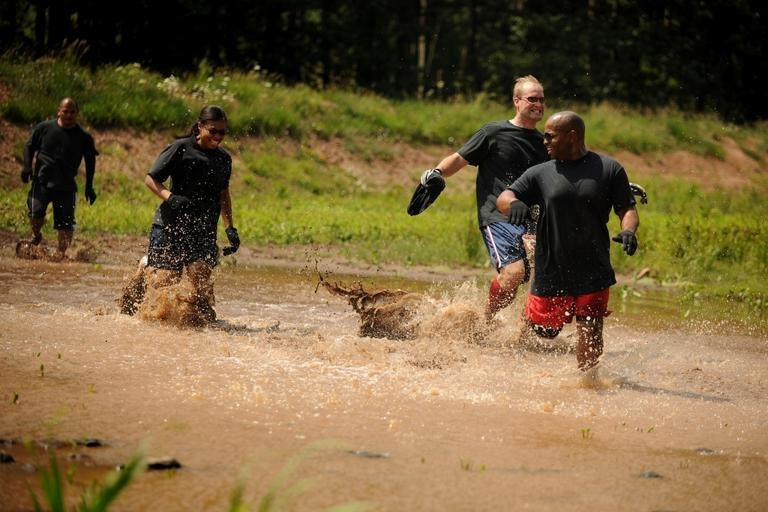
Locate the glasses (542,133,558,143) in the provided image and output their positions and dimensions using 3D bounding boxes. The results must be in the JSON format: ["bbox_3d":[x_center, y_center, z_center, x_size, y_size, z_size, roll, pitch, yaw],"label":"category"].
[{"bbox_3d":[2.406,-1.704,17.905,0.174,0.097,0.234,2,-6,5],"label":"glasses"}]

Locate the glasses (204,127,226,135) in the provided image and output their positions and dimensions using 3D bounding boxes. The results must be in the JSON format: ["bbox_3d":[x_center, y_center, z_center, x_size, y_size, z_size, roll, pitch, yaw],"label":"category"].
[{"bbox_3d":[-2.569,-1.909,19.154,0.275,0.112,0.096,0,10,-42],"label":"glasses"}]

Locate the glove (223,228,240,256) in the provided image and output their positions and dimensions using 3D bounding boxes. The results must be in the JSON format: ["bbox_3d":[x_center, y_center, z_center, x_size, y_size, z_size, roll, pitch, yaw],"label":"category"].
[{"bbox_3d":[-2.567,-0.242,20.890,0.163,0.408,0.301,-26,-2,-21],"label":"glove"}]
